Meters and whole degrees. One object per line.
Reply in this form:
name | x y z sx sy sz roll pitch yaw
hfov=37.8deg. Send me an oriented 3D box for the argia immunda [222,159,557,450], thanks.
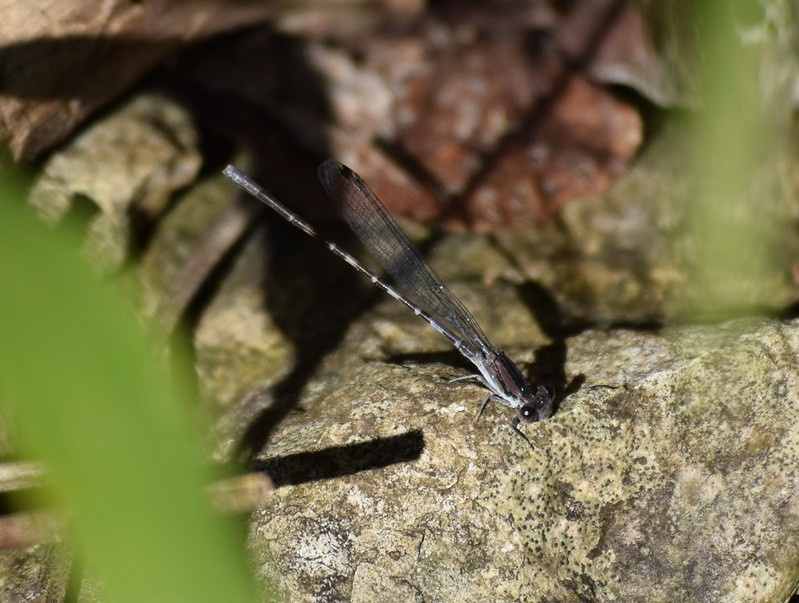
argia immunda | -0.051 -0.048 3.392 0.501 0.301 1.226 -24 62 -36
